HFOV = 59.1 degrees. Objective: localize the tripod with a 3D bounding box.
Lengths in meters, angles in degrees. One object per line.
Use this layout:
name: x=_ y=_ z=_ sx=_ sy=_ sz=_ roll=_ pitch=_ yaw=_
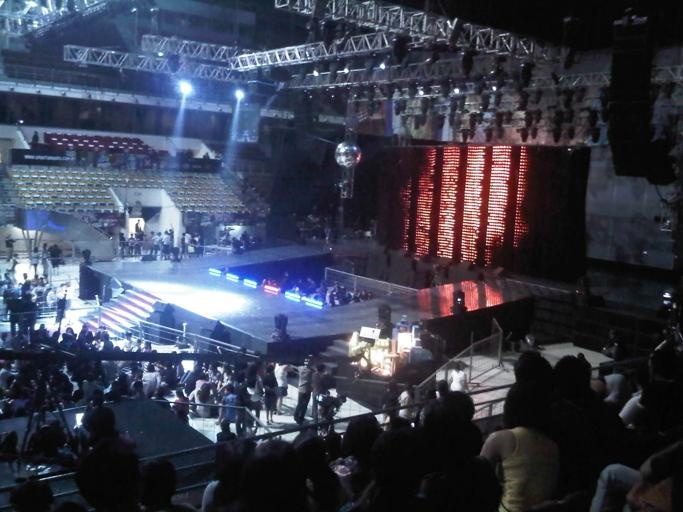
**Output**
tripod: x=-2.909 y=1.538 z=5.960 sx=0.403 sy=0.885 sz=0.365 roll=-5 pitch=8 yaw=-26
